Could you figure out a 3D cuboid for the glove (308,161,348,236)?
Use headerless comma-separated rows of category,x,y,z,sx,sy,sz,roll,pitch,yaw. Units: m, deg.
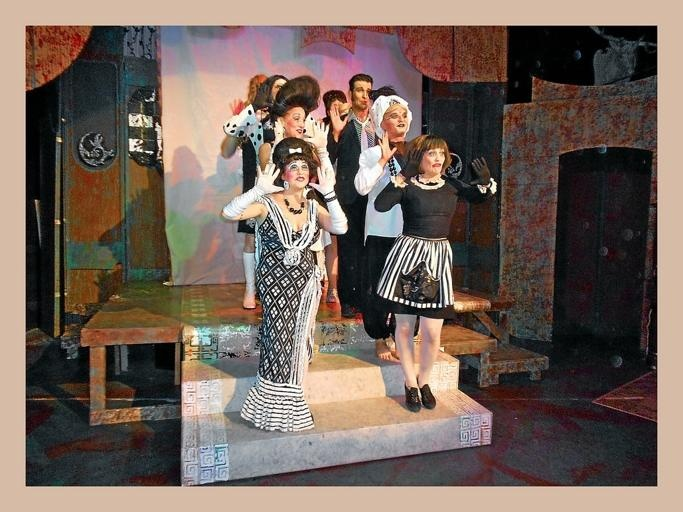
glove,-0.068,-0.378,3.499,0.265,0.414,0.122,-5,28,12

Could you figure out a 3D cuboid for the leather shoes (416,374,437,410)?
leather shoes,0.565,0.920,3.649,0.078,0.207,0.090,-11,-29,-13

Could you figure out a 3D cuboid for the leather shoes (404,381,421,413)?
leather shoes,0.473,0.949,3.563,0.070,0.073,0.170,-1,11,-5

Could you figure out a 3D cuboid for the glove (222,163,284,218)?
glove,-0.543,-0.389,3.307,0.242,0.414,0.111,29,5,-20

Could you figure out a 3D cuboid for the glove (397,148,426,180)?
glove,0.467,-0.605,3.542,0.193,0.186,0.058,0,1,24

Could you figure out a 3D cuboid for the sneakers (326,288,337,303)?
sneakers,-0.082,0.336,4.460,0.111,0.110,0.097,-1,1,9

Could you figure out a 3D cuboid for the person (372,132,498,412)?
person,0.599,0.095,3.642,0.698,1.769,0.490,-10,18,-34
